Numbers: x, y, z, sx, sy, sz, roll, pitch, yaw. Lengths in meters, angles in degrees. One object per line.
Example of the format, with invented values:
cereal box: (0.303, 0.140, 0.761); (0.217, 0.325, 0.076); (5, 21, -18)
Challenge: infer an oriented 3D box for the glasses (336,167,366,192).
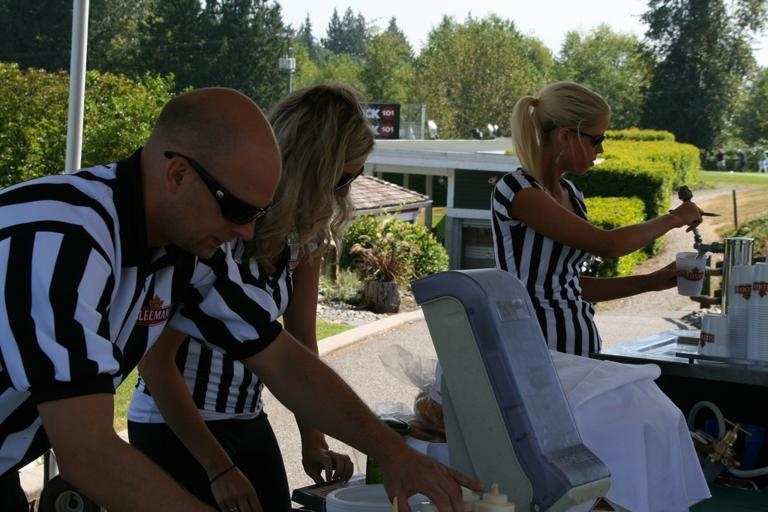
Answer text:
glasses: (-0.130, -0.278, 3.076); (0.098, 0.031, 0.099); (-22, 18, 48)

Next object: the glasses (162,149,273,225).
glasses: (-0.462, -0.191, 2.204); (0.245, 0.067, 0.186); (45, -3, -4)

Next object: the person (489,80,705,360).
person: (0.844, -0.174, 3.490); (0.673, 1.159, 0.456); (-2, 4, -30)

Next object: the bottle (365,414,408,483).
bottle: (0.007, 0.648, 2.649); (0.044, 0.191, 0.195); (4, -7, -11)

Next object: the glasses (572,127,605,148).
glasses: (0.877, -0.511, 3.393); (0.099, 0.035, 0.088); (26, 12, 23)

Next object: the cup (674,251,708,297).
cup: (1.477, 0.089, 3.800); (0.151, 0.189, 0.164); (1, 7, 0)

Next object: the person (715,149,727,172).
person: (16.902, -4.773, 39.533); (0.466, 0.994, 0.887); (1, 4, 23)

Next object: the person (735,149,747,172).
person: (17.938, -4.770, 39.507); (0.460, 1.087, 0.934); (1, 4, 25)
